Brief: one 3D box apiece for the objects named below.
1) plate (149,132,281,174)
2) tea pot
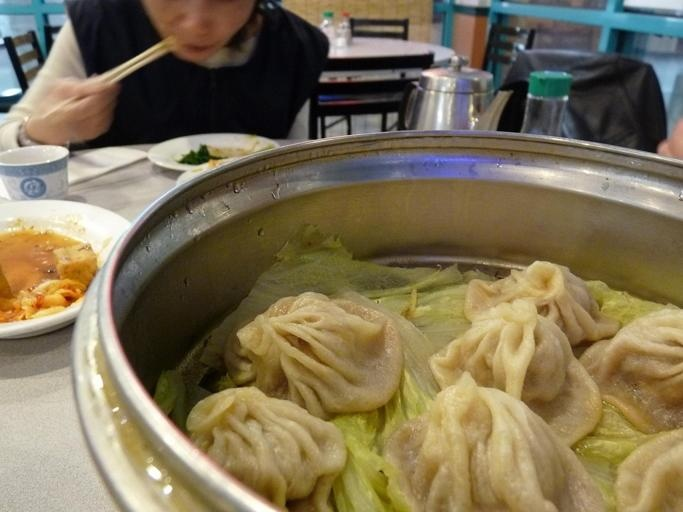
[{"bbox_3d":[-0.687,-0.514,2.448,0.390,0.058,0.407,-1,22,-4],"label":"plate"},{"bbox_3d":[0.485,-0.633,2.141,0.315,0.326,0.381,-3,31,-8],"label":"tea pot"}]
